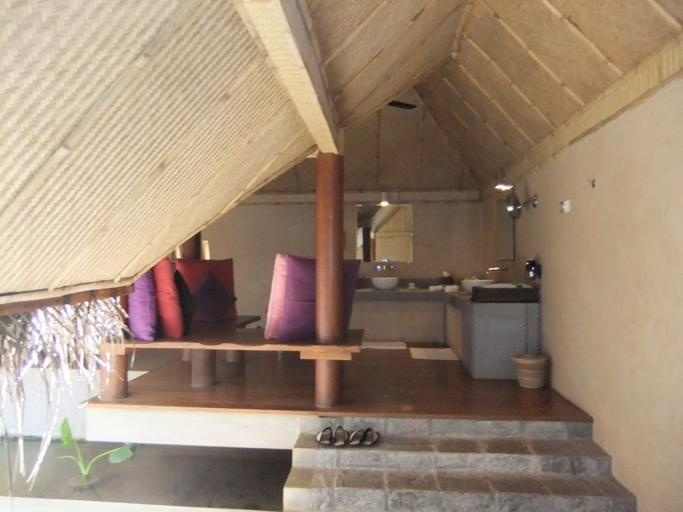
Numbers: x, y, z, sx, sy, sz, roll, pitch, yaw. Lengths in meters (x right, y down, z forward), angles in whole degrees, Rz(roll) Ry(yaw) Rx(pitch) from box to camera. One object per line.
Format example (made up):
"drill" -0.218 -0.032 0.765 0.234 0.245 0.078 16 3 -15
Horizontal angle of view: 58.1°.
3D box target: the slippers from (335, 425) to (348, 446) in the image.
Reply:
"slippers" -0.003 1.247 4.253 0.089 0.095 0.245 -1 0 3

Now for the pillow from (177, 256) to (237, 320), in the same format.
"pillow" -1.277 0.295 5.789 0.181 0.537 0.572 -6 -7 25

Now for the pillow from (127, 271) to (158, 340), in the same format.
"pillow" -1.480 0.368 4.580 0.220 0.507 0.173 -6 6 -20

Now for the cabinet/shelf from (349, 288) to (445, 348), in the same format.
"cabinet/shelf" 0.683 0.731 7.607 1.145 0.714 0.403 -4 5 1

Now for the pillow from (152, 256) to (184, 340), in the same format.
"pillow" -1.320 0.316 4.710 0.184 0.600 0.307 -6 6 -15

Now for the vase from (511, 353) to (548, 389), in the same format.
"vase" 1.558 0.937 5.100 0.268 0.203 0.269 0 2 26

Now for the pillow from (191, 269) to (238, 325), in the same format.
"pillow" -1.213 0.375 5.769 0.381 0.502 0.535 -5 5 -6

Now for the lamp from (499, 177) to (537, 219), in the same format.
"lamp" 1.640 -0.544 5.765 0.291 0.408 0.348 -4 1 6

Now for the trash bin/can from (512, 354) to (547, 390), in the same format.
"trash bin/can" 1.552 0.945 5.110 0.268 0.209 0.268 0 0 21

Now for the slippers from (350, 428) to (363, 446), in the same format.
"slippers" 0.102 1.254 4.247 0.088 0.062 0.169 -3 6 9

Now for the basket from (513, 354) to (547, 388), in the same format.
"basket" 1.581 0.961 5.172 0.288 0.265 0.306 -4 5 7
